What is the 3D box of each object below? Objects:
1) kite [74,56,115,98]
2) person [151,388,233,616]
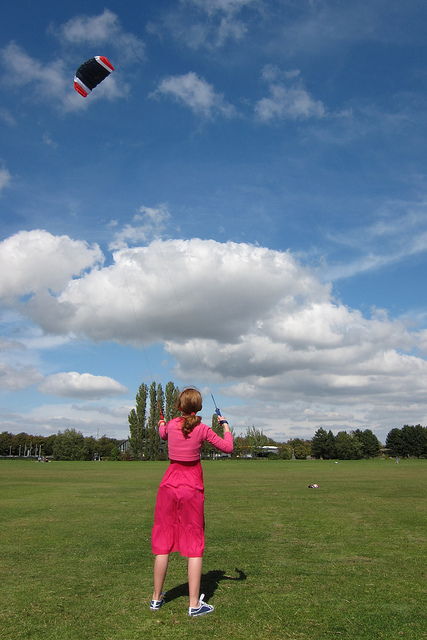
[{"bbox_3d":[-3.390,-6.611,14.206,0.822,1.171,1.426,3,-12,-28],"label":"kite"},{"bbox_3d":[-0.294,1.995,5.732,0.934,2.438,0.691,-3,-11,5],"label":"person"}]
